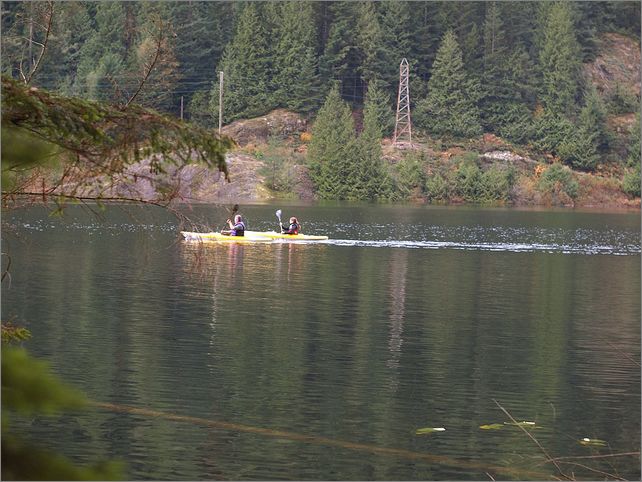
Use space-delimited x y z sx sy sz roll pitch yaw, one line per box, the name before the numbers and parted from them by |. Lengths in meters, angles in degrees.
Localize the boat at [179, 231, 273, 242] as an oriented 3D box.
boat | -5.207 -0.240 70.096 3.496 0.659 0.339 2 94 -8
